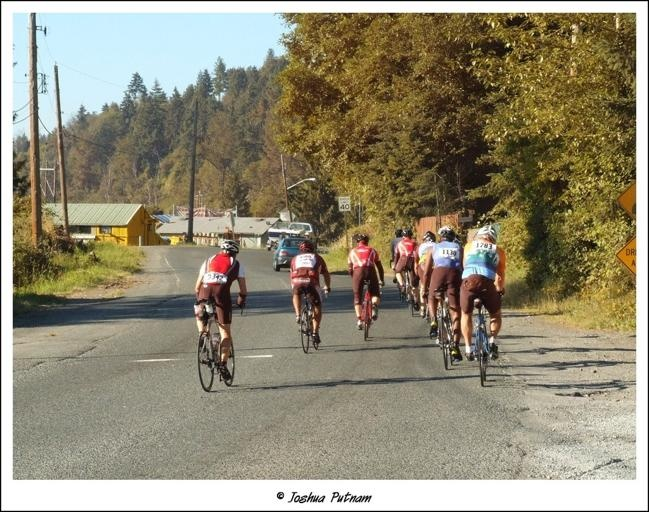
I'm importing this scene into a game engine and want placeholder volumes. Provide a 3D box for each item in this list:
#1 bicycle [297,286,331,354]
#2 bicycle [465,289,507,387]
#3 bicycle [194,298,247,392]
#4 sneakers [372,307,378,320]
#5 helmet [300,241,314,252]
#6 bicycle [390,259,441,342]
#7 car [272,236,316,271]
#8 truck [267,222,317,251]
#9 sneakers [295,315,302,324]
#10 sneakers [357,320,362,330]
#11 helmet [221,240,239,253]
[{"bbox_3d":[-0.312,1.241,15.502,0.427,1.066,1.316,-3,2,-1],"label":"bicycle"},{"bbox_3d":[2.884,1.365,12.826,0.768,1.134,1.726,-1,-2,2],"label":"bicycle"},{"bbox_3d":[-1.804,1.437,12.421,0.694,1.217,1.822,0,5,-8],"label":"bicycle"},{"bbox_3d":[1.097,1.242,16.435,0.080,0.274,0.112,-2,13,3],"label":"sneakers"},{"bbox_3d":[-0.346,-0.209,15.208,0.170,0.245,0.239,9,15,3],"label":"helmet"},{"bbox_3d":[2.363,0.754,19.552,0.647,0.983,1.498,-9,34,-1],"label":"bicycle"},{"bbox_3d":[-1.897,-0.052,37.786,1.298,1.271,3.200,-2,7,-2],"label":"car"},{"bbox_3d":[-2.978,-1.305,61.516,4.997,3.089,2.321,1,5,6],"label":"truck"},{"bbox_3d":[-0.510,1.250,14.963,0.089,0.142,0.131,0,-6,0],"label":"sneakers"},{"bbox_3d":[0.758,1.414,15.853,0.055,0.144,0.133,-2,2,40],"label":"sneakers"},{"bbox_3d":[-1.549,-0.164,12.222,0.225,0.256,0.194,4,4,26],"label":"helmet"}]
